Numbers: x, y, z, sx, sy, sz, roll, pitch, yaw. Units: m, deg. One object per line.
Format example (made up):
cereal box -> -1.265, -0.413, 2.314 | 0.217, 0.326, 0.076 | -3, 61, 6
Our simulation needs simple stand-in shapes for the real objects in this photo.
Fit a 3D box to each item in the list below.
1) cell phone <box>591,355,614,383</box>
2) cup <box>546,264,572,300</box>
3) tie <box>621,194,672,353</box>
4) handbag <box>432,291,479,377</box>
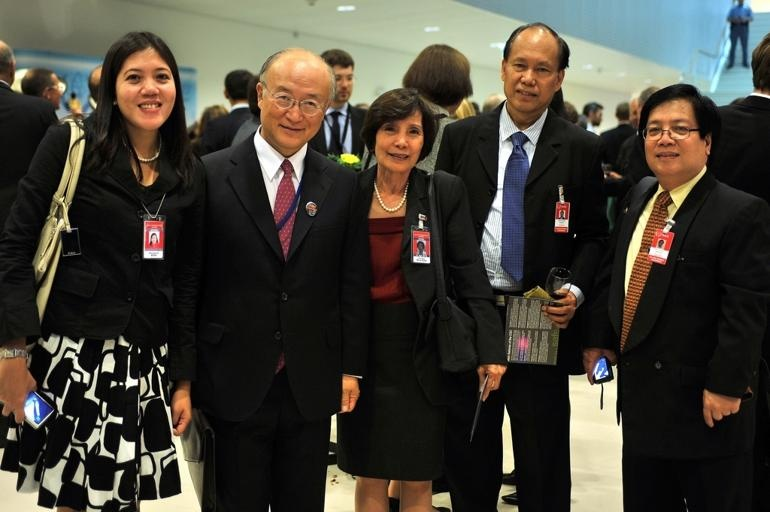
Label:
cell phone -> 1.047, 0.542, 3.108 | 0.107, 0.195, 0.032 | -13, -43, 36
cup -> 0.839, 0.156, 3.172 | 0.138, 0.219, 0.137 | 1, 10, 0
tie -> 1.216, 0.002, 2.992 | 0.151, 0.903, 0.040 | 15, -10, 21
handbag -> 0.348, 0.371, 3.072 | 0.237, 0.441, 0.330 | -8, -19, 6
